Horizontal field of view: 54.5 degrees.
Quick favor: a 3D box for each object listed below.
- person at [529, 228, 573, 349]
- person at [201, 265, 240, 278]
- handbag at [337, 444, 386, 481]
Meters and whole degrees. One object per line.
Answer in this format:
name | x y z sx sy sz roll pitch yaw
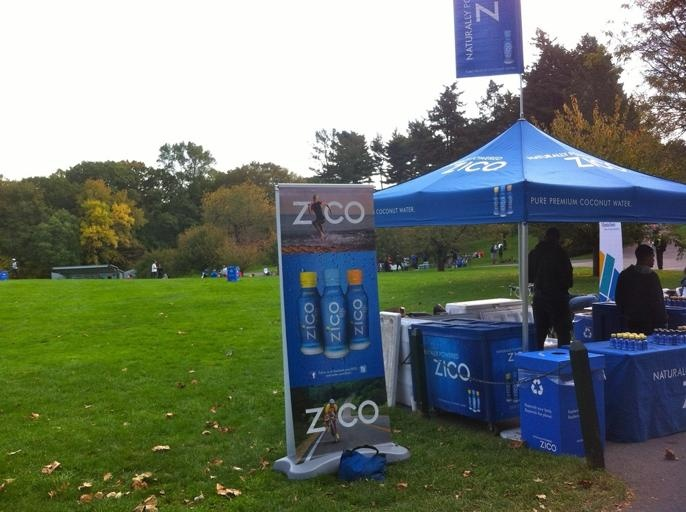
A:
person | 3.609 0.560 11.614 0.684 2.043 0.700 1 6 14
person | -9.651 1.254 52.321 1.750 0.819 1.005 -5 3 -15
handbag | 0.279 2.881 9.254 0.438 0.183 0.443 4 31 3
